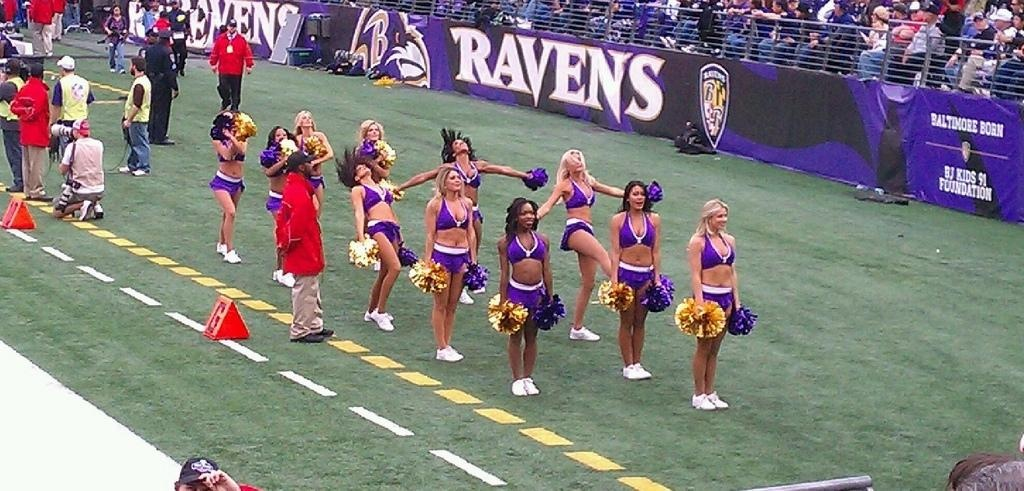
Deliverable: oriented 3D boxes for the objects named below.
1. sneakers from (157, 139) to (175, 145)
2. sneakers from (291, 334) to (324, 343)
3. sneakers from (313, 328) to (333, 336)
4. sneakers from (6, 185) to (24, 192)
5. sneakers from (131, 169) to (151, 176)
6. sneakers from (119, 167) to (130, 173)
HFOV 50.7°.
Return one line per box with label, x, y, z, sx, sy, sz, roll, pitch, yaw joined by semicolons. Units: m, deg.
sneakers;-12.318;-3.385;35.341;0.624;0.188;0.191;-3;17;-11
sneakers;-5.182;2.082;24.753;0.779;0.218;0.238;-1;13;-3
sneakers;-4.858;1.993;24.909;0.479;0.145;0.163;-3;13;-14
sneakers;-15.341;-1.635;30.977;0.572;0.162;0.171;2;14;3
sneakers;-12.219;-2.198;32.759;0.419;0.145;0.190;3;38;-13
sneakers;-12.864;-2.319;33.018;0.201;0.130;0.390;-1;2;-38
